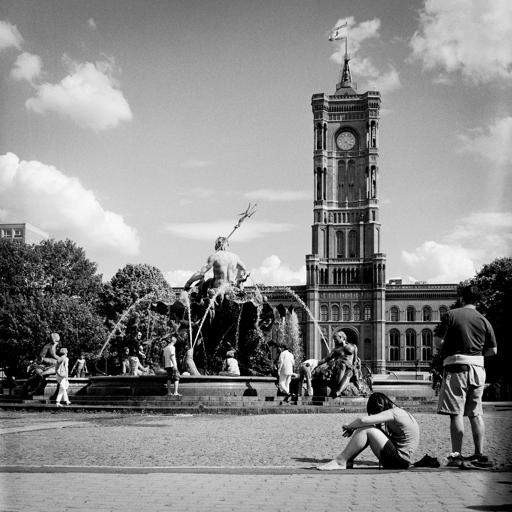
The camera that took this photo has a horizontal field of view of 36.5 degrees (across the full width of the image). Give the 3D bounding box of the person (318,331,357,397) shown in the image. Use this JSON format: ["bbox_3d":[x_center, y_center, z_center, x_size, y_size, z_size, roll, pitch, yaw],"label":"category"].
[{"bbox_3d":[2.183,2.792,20.168,0.971,1.868,0.816,8,-25,-4],"label":"person"}]

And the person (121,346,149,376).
[{"bbox_3d":[-4.363,3.748,27.985,0.912,0.971,2.600,3,-9,-10],"label":"person"}]

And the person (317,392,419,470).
[{"bbox_3d":[1.169,1.795,7.983,1.009,0.831,0.494,0,-16,9],"label":"person"}]

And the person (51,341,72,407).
[{"bbox_3d":[-4.919,3.057,19.836,0.412,1.405,2.268,3,-9,-14],"label":"person"}]

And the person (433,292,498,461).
[{"bbox_3d":[2.216,1.338,8.142,0.623,1.607,0.384,-1,-8,14],"label":"person"}]

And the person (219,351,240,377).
[{"bbox_3d":[-0.721,3.027,21.944,0.565,1.012,0.674,5,-5,-21],"label":"person"}]
